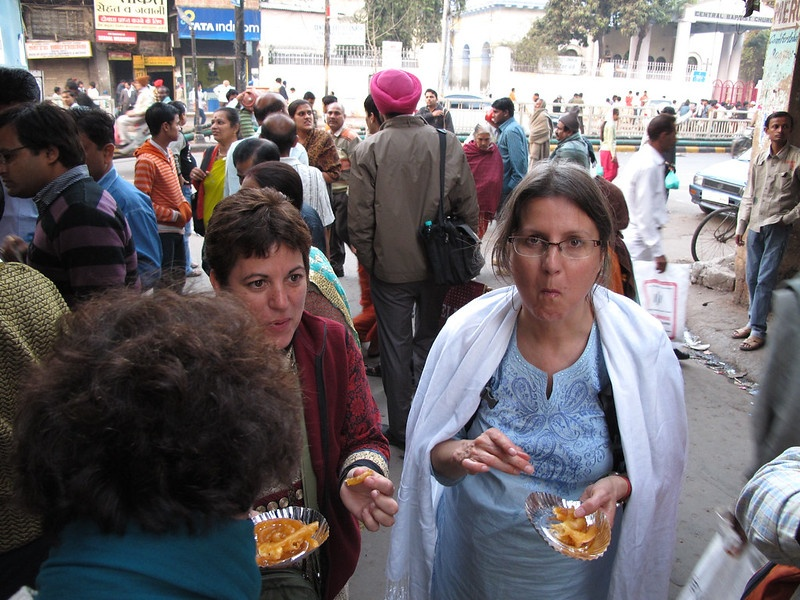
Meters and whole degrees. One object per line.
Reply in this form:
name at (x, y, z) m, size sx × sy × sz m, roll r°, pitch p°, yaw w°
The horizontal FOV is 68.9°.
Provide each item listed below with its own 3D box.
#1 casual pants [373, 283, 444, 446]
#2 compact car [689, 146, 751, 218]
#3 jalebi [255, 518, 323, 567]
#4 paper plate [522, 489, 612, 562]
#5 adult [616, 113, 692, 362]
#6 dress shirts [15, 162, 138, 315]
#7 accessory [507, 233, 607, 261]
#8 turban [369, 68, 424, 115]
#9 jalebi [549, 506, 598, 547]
casual pants at (0.086, 0.337, 4.567) m, size 0.446 × 1.428 × 0.356 m, roll 1°, pitch 25°, yaw -4°
compact car at (6.023, -2.233, 11.006) m, size 1.088 × 0.978 × 2.558 m, roll 20°, pitch 24°, yaw 39°
jalebi at (-0.371, 0.766, 1.862) m, size 0.154 × 0.044 × 0.147 m, roll -11°, pitch 27°, yaw -27°
paper plate at (0.567, 0.759, 1.946) m, size 0.254 × 0.088 × 0.324 m, roll 7°, pitch 9°, yaw -21°
adult at (2.574, -0.628, 5.908) m, size 0.582 × 2.370 × 0.821 m, roll 3°, pitch 24°, yaw 28°
dress shirts at (-1.573, -0.310, 2.819) m, size 0.417 × 0.709 × 0.799 m, roll -16°, pitch 27°, yaw -41°
accessory at (0.557, -0.186, 2.089) m, size 0.312 × 0.074 × 0.091 m, roll 3°, pitch 16°, yaw 7°
turban at (-0.037, -1.506, 4.340) m, size 0.304 × 0.218 × 0.387 m, roll -3°, pitch 34°, yaw -1°
jalebi at (0.584, 0.762, 1.949) m, size 0.158 × 0.070 × 0.151 m, roll 6°, pitch 16°, yaw 16°
